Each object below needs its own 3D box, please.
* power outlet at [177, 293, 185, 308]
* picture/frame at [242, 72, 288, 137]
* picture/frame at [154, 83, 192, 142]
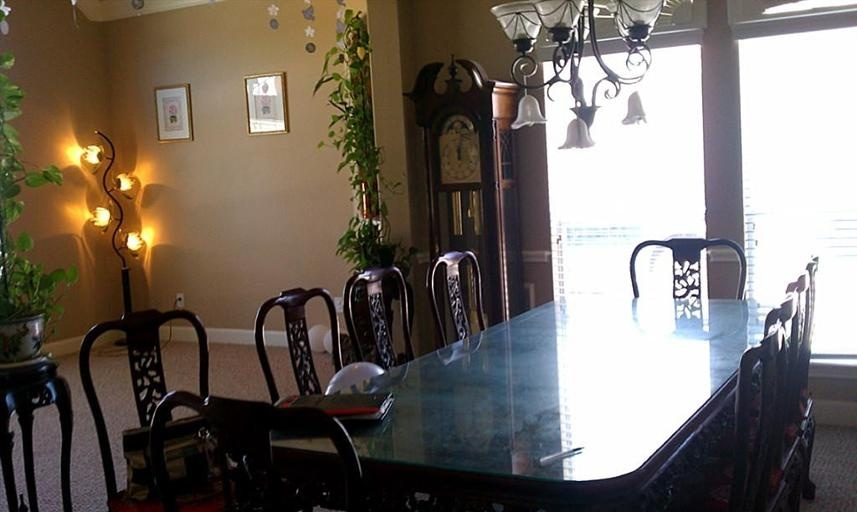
[{"bbox_3d":[-2.797,0.487,7.105,0.110,0.143,0.056,5,16,32],"label":"power outlet"},{"bbox_3d":[-1.670,-1.606,6.543,0.663,0.823,0.059,-1,4,22],"label":"picture/frame"},{"bbox_3d":[-2.804,-1.589,6.949,0.496,0.589,0.119,2,14,20],"label":"picture/frame"}]
